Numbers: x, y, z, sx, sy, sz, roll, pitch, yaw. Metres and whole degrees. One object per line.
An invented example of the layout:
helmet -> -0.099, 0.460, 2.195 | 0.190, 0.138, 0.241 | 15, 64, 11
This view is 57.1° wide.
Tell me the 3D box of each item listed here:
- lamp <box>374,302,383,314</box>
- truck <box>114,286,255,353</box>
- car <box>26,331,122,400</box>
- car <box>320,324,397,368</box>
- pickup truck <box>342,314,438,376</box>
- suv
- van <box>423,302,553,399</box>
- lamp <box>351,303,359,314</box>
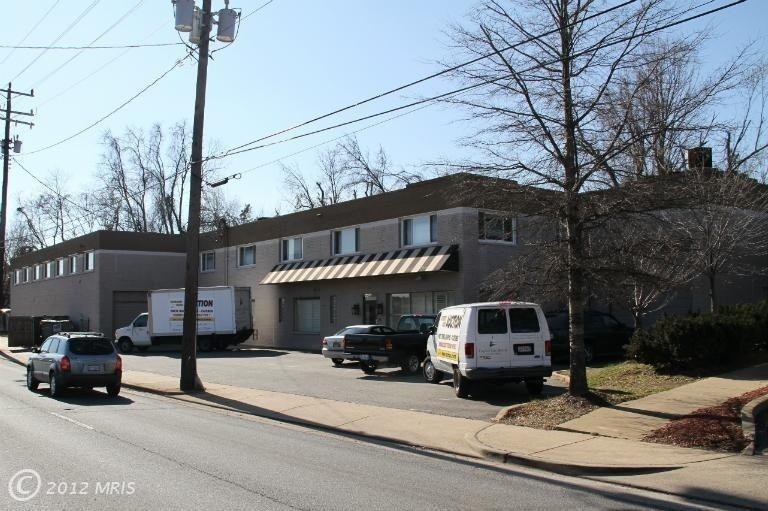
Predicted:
lamp -> -0.258, 2.573, 34.812 | 0.341, 0.566, 0.593 | 1, -3, -24
truck -> -12.197, 3.627, 40.435 | 8.484, 3.858, 3.376 | -1, -5, 9
car -> -10.363, 3.613, 23.272 | 3.402, 2.023, 1.597 | 0, 2, 34
car -> -1.333, 3.612, 28.614 | 1.504, 1.145, 3.244 | -1, -2, 26
pickup truck -> 0.266, 3.278, 26.001 | 1.910, 1.349, 3.298 | -3, -3, 37
suv -> 7.706, 3.052, 26.930 | 3.612, 1.369, 1.675 | -3, 0, -22
van -> 2.993, 2.823, 21.532 | 2.239, 2.914, 3.799 | -2, 2, -37
lamp -> -1.468, 2.759, 36.062 | 0.478, 0.656, 0.482 | 1, -6, -2
